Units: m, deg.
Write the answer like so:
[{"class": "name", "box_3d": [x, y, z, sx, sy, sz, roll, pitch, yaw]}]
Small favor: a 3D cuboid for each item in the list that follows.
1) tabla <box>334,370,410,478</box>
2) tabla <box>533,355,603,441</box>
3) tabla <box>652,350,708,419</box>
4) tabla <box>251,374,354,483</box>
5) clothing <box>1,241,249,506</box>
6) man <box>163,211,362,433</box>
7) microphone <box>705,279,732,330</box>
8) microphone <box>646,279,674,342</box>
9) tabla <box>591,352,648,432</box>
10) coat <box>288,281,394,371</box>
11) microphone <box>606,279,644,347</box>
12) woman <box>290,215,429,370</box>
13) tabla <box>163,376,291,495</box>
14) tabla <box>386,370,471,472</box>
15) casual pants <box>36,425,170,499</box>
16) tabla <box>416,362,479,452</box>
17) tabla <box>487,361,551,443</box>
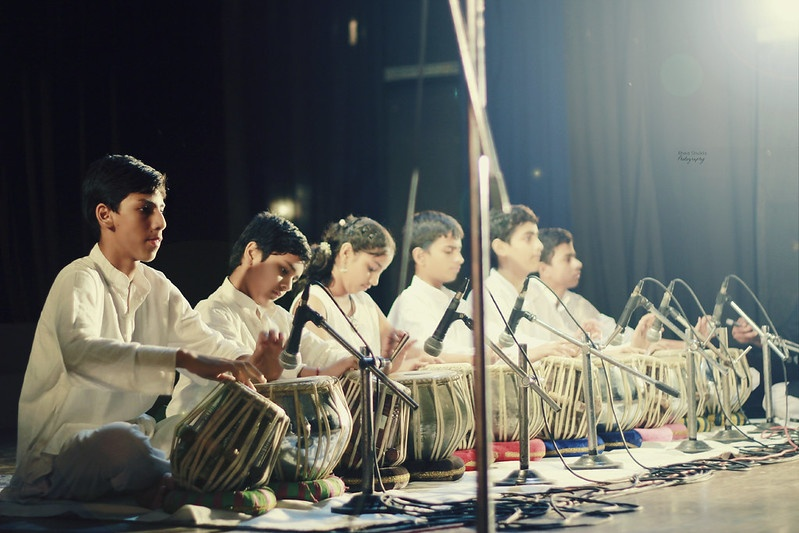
[{"class": "tabla", "box_3d": [-0.137, 0.939, 5.272, 0.516, 0.553, 0.515, 5, -2, -39]}, {"class": "tabla", "box_3d": [1.109, 0.898, 5.986, 0.499, 0.578, 0.498, 5, -4, 28]}, {"class": "tabla", "box_3d": [1.934, 0.838, 6.409, 0.501, 0.525, 0.442, 0, -1, -8]}, {"class": "tabla", "box_3d": [-0.596, 0.943, 5.076, 0.642, 0.598, 0.601, -4, 2, -43]}, {"class": "clothing", "box_3d": [-1.495, 0.596, 5.259, 1.326, 1.403, 1.427, 3, 5, 28]}, {"class": "man", "box_3d": [-0.715, 0.508, 5.517, 1.337, 1.643, 1.094, 6, 5, -4]}, {"class": "microphone", "box_3d": [2.274, 0.274, 6.465, 0.079, 0.352, 0.107, 19, 17, 24]}, {"class": "microphone", "box_3d": [1.762, 0.290, 6.133, 0.116, 0.426, 0.122, 8, 14, -10]}, {"class": "tabla", "box_3d": [1.423, 0.843, 6.012, 0.432, 0.330, 0.434, 1, -10, -4]}, {"class": "coat", "box_3d": [-0.321, 0.415, 4.797, 0.599, 0.588, 0.108, 21, -13, -28]}, {"class": "microphone", "box_3d": [1.547, 0.322, 6.225, 0.129, 0.463, 0.144, 8, 22, -31]}, {"class": "woman", "box_3d": [-0.358, 0.168, 6.130, 0.986, 1.374, 0.825, -3, 1, 11]}, {"class": "tabla", "box_3d": [-0.884, 0.988, 5.017, 0.606, 0.624, 0.552, 28, -11, 5]}, {"class": "tabla", "box_3d": [0.153, 0.912, 5.411, 0.589, 0.662, 0.600, 0, 9, -2]}, {"class": "casual pants", "box_3d": [-1.568, 1.017, 4.833, 0.521, 0.252, 0.384, 1, -6, -40]}, {"class": "tabla", "box_3d": [0.417, 0.866, 5.526, 0.460, 0.469, 0.474, -2, -3, 26]}, {"class": "tabla", "box_3d": [0.701, 0.887, 5.842, 0.549, 0.565, 0.518, -2, -7, 9]}]
